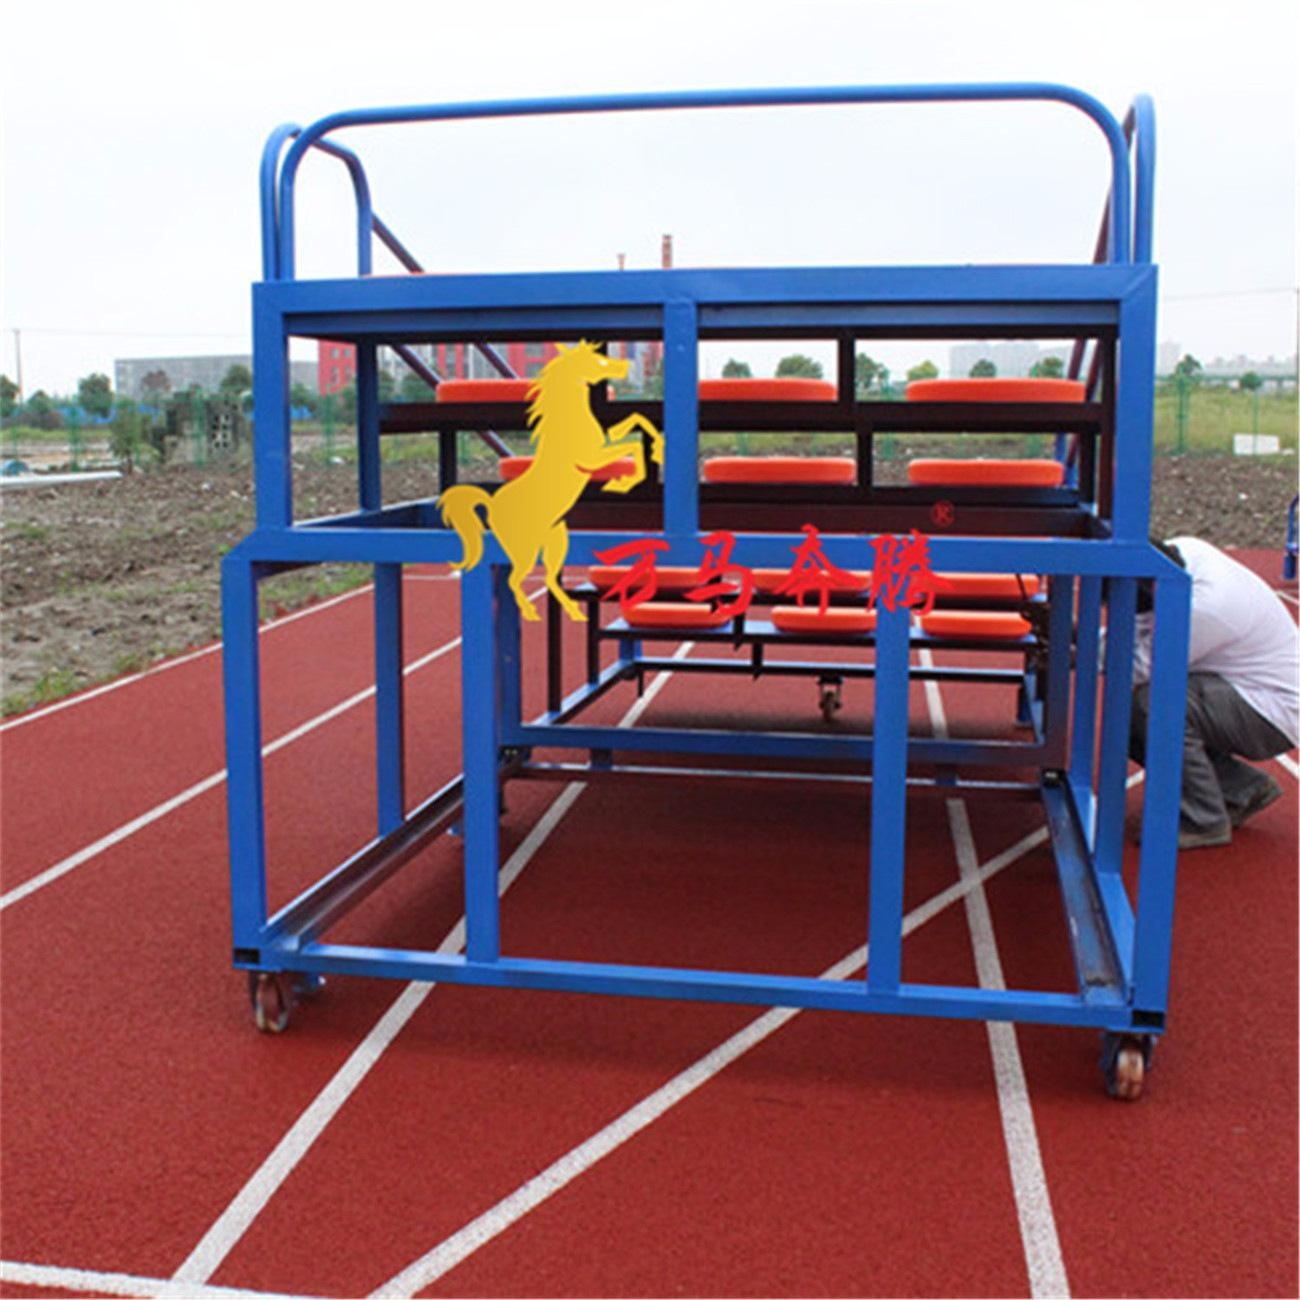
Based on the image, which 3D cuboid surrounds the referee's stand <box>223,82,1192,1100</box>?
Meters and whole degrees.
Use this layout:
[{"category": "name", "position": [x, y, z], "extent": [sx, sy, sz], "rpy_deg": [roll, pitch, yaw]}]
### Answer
[{"category": "referee's stand", "position": [0.380, -0.315, 4.577], "extent": [2.564, 2.713, 3.316], "rpy_deg": [0, 3, 10]}]

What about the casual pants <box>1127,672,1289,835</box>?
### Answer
[{"category": "casual pants", "position": [2.500, 0.370, 4.971], "extent": [0.473, 0.681, 0.601], "rpy_deg": [-17, 26, 36]}]

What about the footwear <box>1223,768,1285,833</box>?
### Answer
[{"category": "footwear", "position": [2.563, 0.646, 4.986], "extent": [0.116, 0.270, 0.281], "rpy_deg": [14, 8, 30]}]
